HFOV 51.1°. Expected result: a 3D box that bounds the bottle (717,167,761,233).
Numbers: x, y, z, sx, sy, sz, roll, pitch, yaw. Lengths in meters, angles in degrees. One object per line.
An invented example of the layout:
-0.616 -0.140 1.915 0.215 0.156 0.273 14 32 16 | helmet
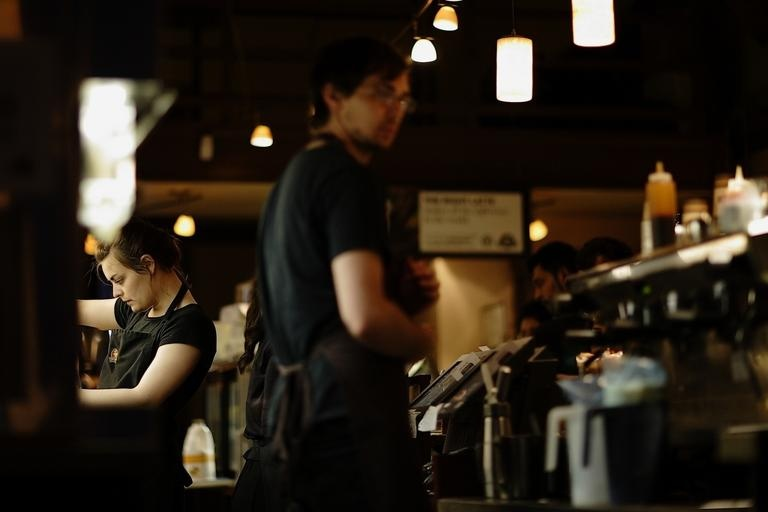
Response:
0.886 -0.121 2.018 0.091 0.142 0.221 1 -2 28 | bottle

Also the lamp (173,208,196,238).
-2.276 -0.370 9.038 0.289 0.283 0.292 3 3 17 | lamp

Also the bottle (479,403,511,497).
0.364 0.619 2.550 0.078 0.307 0.149 2 -2 -14 | bottle

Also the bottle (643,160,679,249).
0.738 -0.131 2.151 0.083 0.258 0.222 1 -2 19 | bottle

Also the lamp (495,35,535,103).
0.688 -0.990 4.234 0.179 0.329 0.188 1 -2 7 | lamp

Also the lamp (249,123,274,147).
-1.104 -1.076 7.393 0.227 0.221 0.228 5 -9 -39 | lamp
